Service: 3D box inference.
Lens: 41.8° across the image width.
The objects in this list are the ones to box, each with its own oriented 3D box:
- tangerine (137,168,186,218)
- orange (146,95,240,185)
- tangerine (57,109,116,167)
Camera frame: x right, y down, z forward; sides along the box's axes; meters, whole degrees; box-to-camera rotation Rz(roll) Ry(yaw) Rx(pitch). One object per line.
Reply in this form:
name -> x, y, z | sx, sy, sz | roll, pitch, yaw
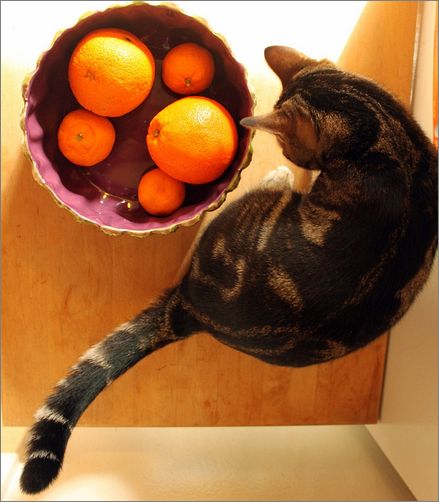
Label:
tangerine -> -0.106, -0.103, 1.042 | 0.102, 0.075, 0.084 | 7, 0, -5
orange -> -0.042, -0.188, 1.025 | 0.185, 0.131, 0.121 | -2, -26, 6
tangerine -> -0.245, -0.209, 1.051 | 0.122, 0.089, 0.112 | 2, 8, -23
